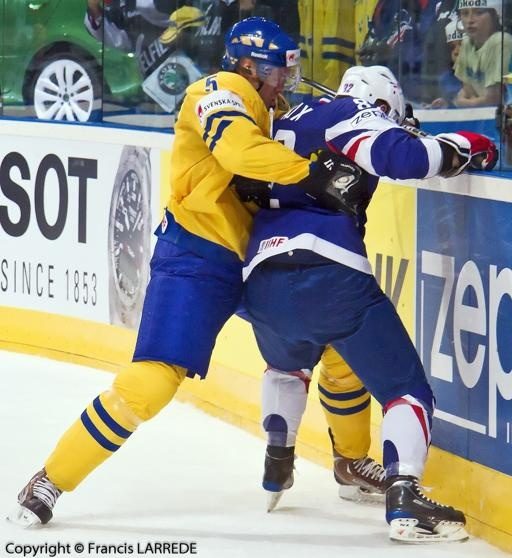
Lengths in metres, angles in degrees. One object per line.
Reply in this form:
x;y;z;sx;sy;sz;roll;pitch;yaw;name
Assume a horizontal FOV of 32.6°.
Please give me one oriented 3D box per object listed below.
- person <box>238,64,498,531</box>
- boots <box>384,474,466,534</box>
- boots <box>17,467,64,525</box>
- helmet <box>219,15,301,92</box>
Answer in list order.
0.322;0.110;2.654;0.796;1.474;0.392;10;14;34;person
0.467;0.661;2.568;0.299;0.201;0.107;0;-3;-10;boots
-0.665;0.677;2.722;0.115;0.186;0.078;42;-21;-5;boots
0.026;-0.683;2.683;0.225;0.183;0.174;16;40;10;helmet
